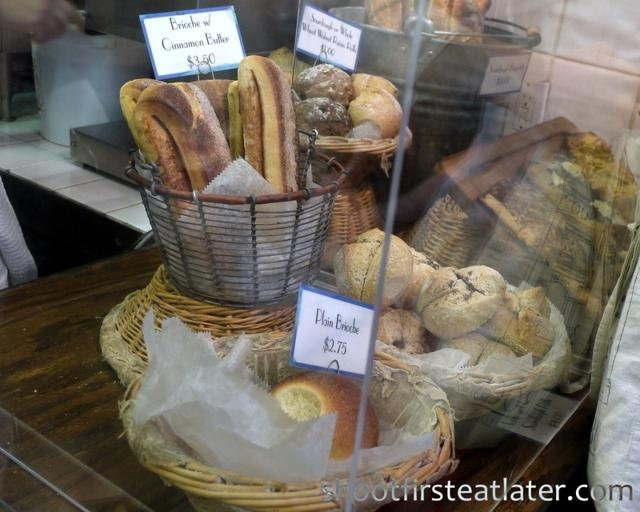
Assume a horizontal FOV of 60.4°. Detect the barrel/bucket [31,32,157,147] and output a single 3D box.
[{"bbox_3d":[-0.427,-0.305,1.025,0.164,0.196,0.193,5,13,14],"label":"barrel/bucket"}]
